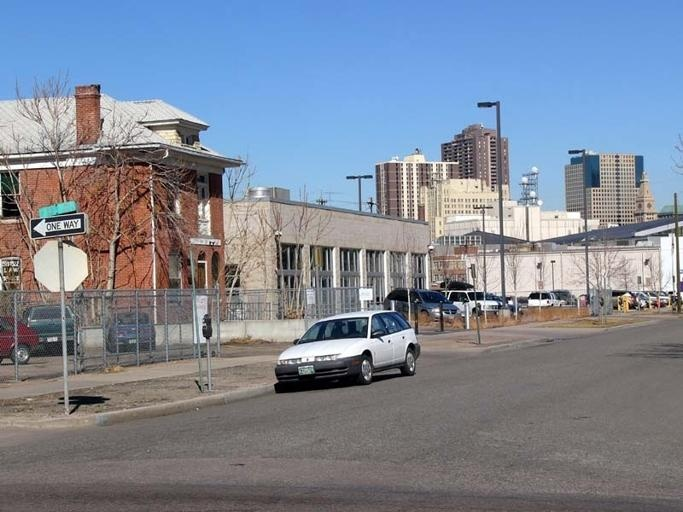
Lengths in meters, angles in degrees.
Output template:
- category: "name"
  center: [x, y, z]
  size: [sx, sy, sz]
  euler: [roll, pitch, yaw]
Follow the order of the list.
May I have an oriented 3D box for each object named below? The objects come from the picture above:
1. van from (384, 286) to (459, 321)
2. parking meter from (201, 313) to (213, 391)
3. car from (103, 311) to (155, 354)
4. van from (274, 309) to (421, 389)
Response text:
- category: "van"
  center: [4.530, 2.704, 48.845]
  size: [3.347, 1.504, 1.909]
  euler: [-2, -3, 35]
- category: "parking meter"
  center: [-3.078, 2.214, 19.324]
  size: [0.249, 1.679, 0.235]
  euler: [-2, -7, 0]
- category: "car"
  center: [-6.689, 2.358, 26.107]
  size: [1.147, 1.087, 2.182]
  euler: [-1, 2, -11]
- category: "van"
  center: [0.282, 2.389, 21.824]
  size: [2.177, 1.862, 4.884]
  euler: [-9, -8, 26]
